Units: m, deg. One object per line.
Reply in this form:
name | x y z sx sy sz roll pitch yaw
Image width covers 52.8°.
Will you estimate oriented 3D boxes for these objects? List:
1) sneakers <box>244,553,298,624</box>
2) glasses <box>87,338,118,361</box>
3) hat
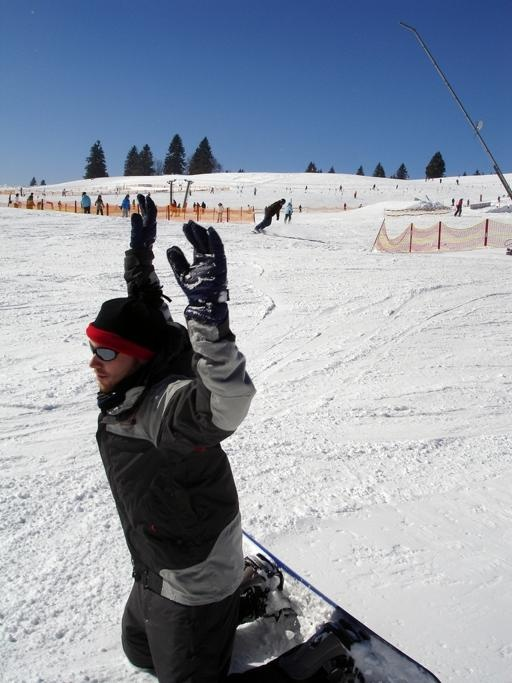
sneakers | 0.056 1.097 2.360 0.122 0.281 0.215 8 -8 -34
glasses | -0.537 0.027 1.785 0.062 0.061 0.186 -9 16 -33
hat | -0.425 -0.030 1.792 0.241 0.132 0.207 13 17 -36
